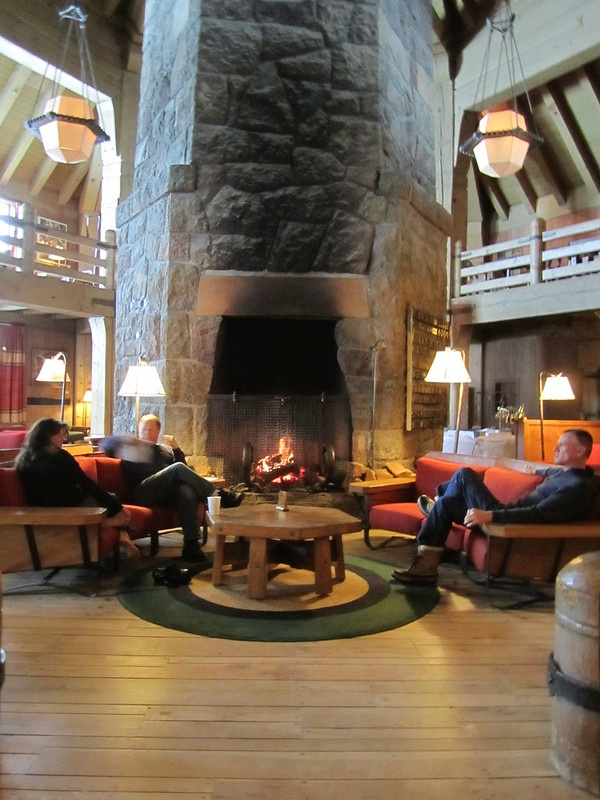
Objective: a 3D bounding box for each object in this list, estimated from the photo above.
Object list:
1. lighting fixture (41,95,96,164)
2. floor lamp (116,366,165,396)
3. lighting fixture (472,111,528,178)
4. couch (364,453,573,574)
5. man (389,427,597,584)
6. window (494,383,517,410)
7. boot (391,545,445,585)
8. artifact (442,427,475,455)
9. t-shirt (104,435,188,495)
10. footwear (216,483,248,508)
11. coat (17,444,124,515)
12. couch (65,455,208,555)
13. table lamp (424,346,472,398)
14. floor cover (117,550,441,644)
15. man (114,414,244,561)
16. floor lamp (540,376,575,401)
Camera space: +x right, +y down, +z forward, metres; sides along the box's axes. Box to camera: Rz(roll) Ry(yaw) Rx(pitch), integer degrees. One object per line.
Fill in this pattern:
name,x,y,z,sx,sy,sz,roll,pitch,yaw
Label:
lighting fixture,-2.075,-2.540,5.622,0.478,0.473,0.538,2,-1,-23
floor lamp,-1.147,-0.124,4.496,0.272,0.170,0.262,-1,1,-10
lighting fixture,1.802,-2.311,5.529,0.481,0.496,0.383,1,-1,18
couch,0.977,0.898,3.876,0.638,0.608,1.139,4,-4,-26
man,1.063,0.490,3.491,0.982,0.805,0.991,2,2,16
window,3.981,-0.078,11.954,0.040,0.574,0.517,-1,4,-26
boot,0.640,0.945,3.580,0.335,0.293,0.156,6,-3,5
artifact,2.100,0.555,8.190,0.410,0.289,0.387,7,-33,11
t-shirt,-1.057,0.416,4.247,0.645,0.351,0.377,4,29,-25
footwear,-0.449,0.637,4.052,0.143,0.113,0.152,1,-8,-2
coat,-1.268,0.441,3.467,0.349,0.283,0.461,-7,-5,17
couch,-1.040,0.640,4.120,0.630,0.700,1.074,0,-3,16
table lamp,1.172,-0.248,4.737,0.458,0.323,0.471,1,-5,-1
floor cover,-0.079,1.024,3.150,1.654,0.022,1.085,1,-1,-11
man,-0.870,0.500,4.101,0.670,1.050,0.641,-33,-28,28
floor lamp,2.622,-0.117,6.352,0.412,0.310,0.404,2,8,16
